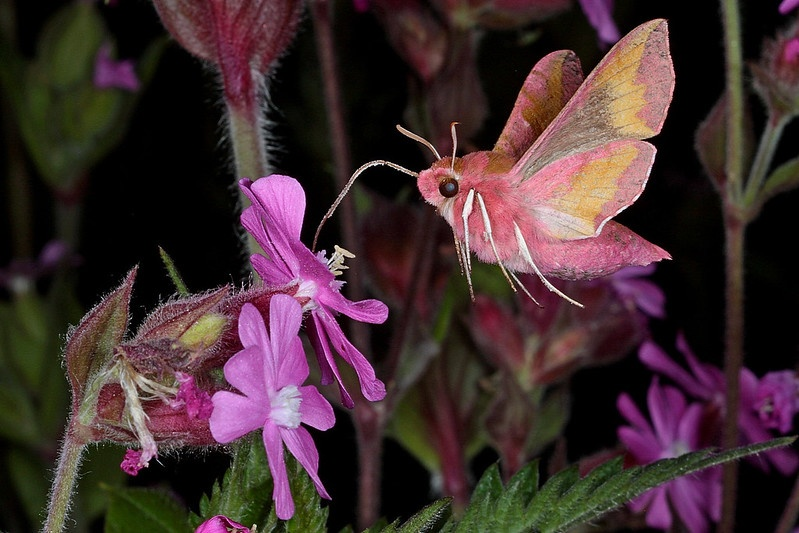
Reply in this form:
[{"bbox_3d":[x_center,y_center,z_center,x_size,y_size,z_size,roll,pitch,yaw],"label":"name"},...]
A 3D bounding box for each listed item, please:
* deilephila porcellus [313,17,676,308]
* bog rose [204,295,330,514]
[{"bbox_3d":[0.119,-0.125,1.162,0.426,0.354,0.318,1,6,-3],"label":"deilephila porcellus"},{"bbox_3d":[-0.133,0.156,1.002,0.088,0.235,0.142,-20,-18,33],"label":"bog rose"}]
